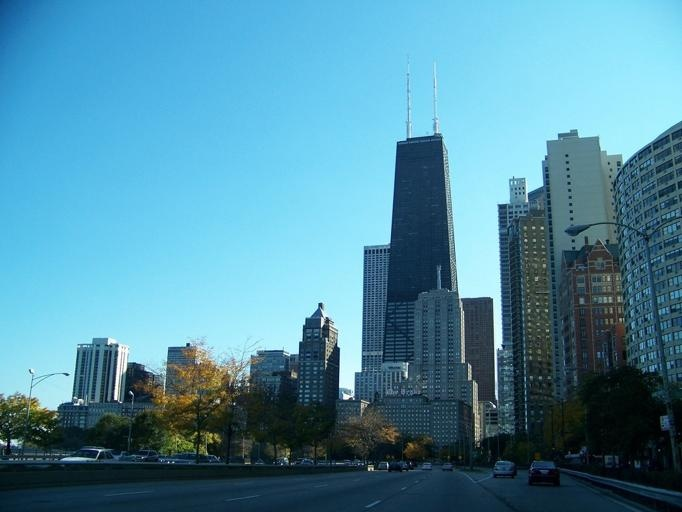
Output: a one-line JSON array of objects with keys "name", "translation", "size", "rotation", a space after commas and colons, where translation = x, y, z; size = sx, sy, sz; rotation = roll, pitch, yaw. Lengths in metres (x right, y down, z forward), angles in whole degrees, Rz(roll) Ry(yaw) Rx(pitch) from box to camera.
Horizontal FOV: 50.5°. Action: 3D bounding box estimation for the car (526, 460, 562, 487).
[{"name": "car", "translation": [16.537, 17.703, 58.793], "size": [2.407, 1.940, 1.686], "rotation": [-4, -19, 8]}]
